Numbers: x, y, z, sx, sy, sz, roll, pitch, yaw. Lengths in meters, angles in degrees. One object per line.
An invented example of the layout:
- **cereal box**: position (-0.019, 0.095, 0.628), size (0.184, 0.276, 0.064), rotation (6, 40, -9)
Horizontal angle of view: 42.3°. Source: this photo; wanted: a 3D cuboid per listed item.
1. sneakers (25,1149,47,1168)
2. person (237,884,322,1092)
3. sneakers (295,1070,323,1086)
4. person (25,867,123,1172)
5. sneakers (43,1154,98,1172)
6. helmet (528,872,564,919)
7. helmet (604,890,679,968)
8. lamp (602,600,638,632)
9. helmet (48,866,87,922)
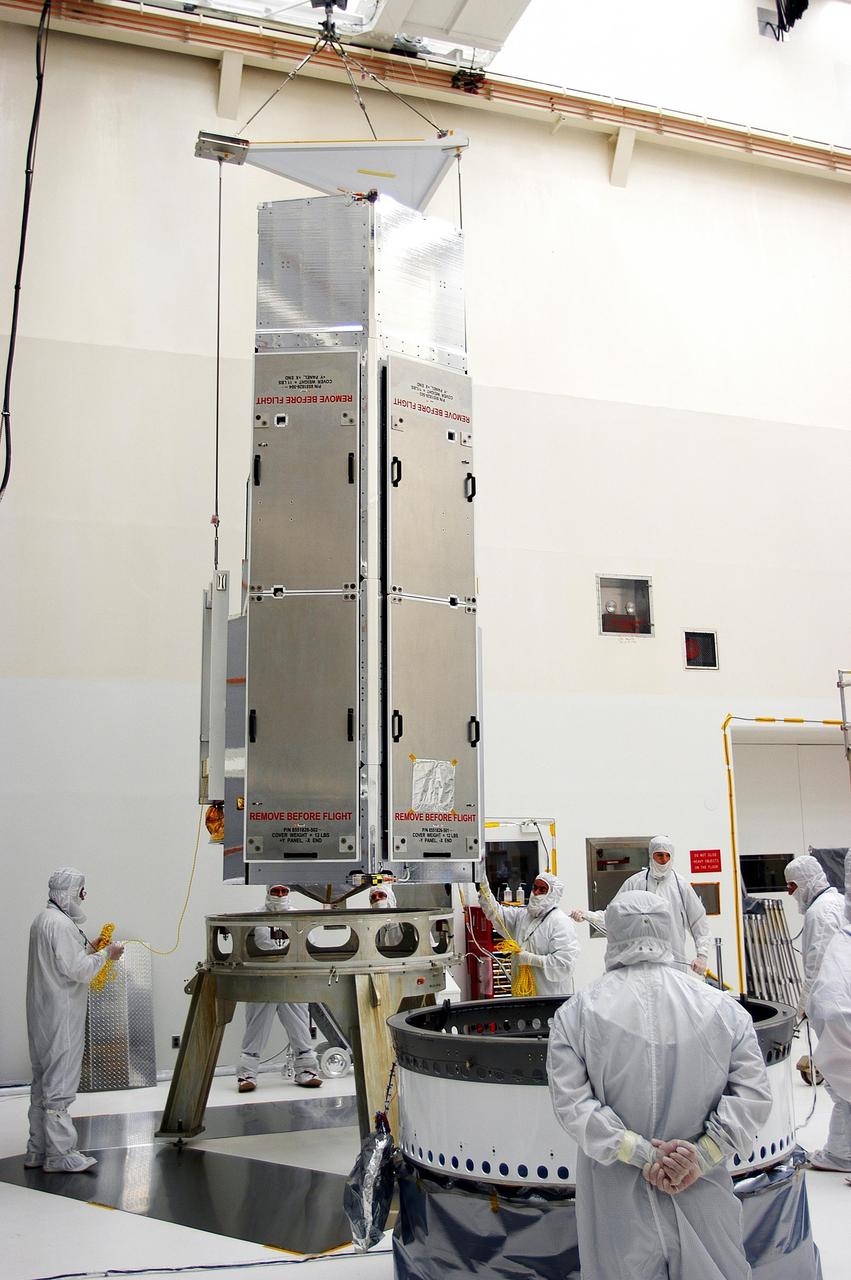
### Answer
- **sneakers**: position (-2.061, 2.739, 5.806), size (0.054, 0.073, 0.166), rotation (3, -13, -7)
- **person**: position (-0.990, 2.418, 7.609), size (0.593, 1.421, 2.222), rotation (1, -12, -9)
- **sneakers**: position (-0.840, 3.106, 7.769), size (0.207, 0.098, 0.202), rotation (-1, -11, 4)
- **person**: position (-1.972, 2.047, 6.087), size (0.464, 1.514, 0.869), rotation (4, -12, -19)
- **sneakers**: position (-1.826, 2.691, 5.660), size (0.227, 0.107, 0.122), rotation (-1, -9, 4)
- **helmet**: position (0.806, 1.731, 7.460), size (0.234, 0.350, 0.251), rotation (-1, -9, 45)
- **helmet**: position (0.611, 0.810, 3.068), size (0.197, 0.241, 0.223), rotation (1, -3, 4)
- **lamp**: position (1.794, -0.172, 10.211), size (0.356, 0.260, 0.207), rotation (2, -12, -17)
- **helmet**: position (-2.120, 1.477, 6.570), size (0.273, 0.442, 0.306), rotation (2, -5, -21)
